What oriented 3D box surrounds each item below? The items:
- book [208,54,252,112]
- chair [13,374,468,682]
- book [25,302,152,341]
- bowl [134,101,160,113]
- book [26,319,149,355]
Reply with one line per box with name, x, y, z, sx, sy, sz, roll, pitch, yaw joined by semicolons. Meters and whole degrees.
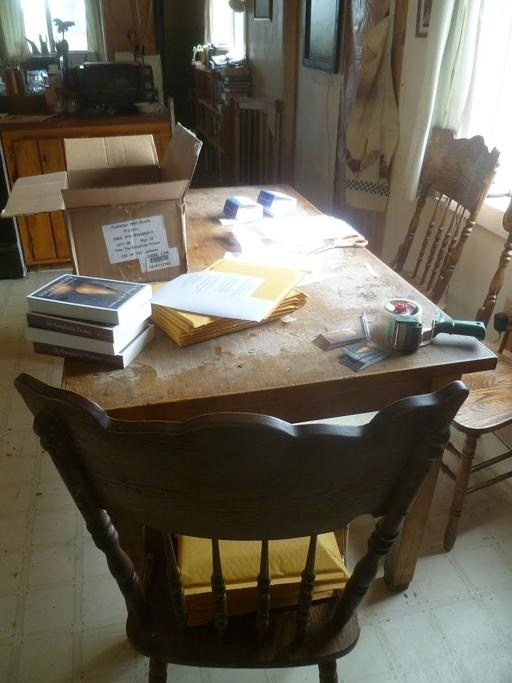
book;-0.256;-2.384;4.745;0.353;0.338;0.496;-4;38;-10
chair;-0.007;0.215;0.681;0.429;0.510;0.282;10;32;12
book;-0.316;-0.046;0.974;0.185;0.055;0.132;11;33;12
bowl;-0.683;-1.484;3.261;0.107;0.041;0.110;2;44;-2
book;-0.315;0.001;0.940;0.095;0.023;0.098;15;25;26
